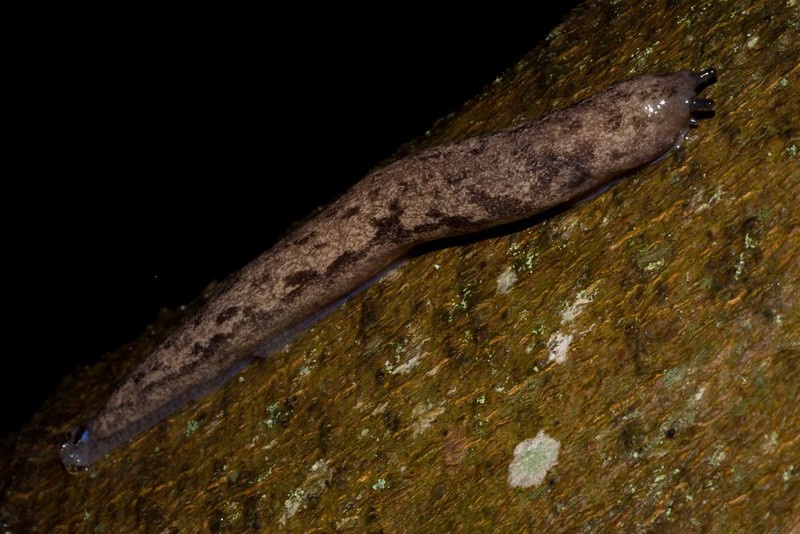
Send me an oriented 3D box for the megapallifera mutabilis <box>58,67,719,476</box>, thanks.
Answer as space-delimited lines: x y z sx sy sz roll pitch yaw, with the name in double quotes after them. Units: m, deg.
-0.295 -0.227 9.376 6.599 0.962 1.180 -29 49 -8 "megapallifera mutabilis"
